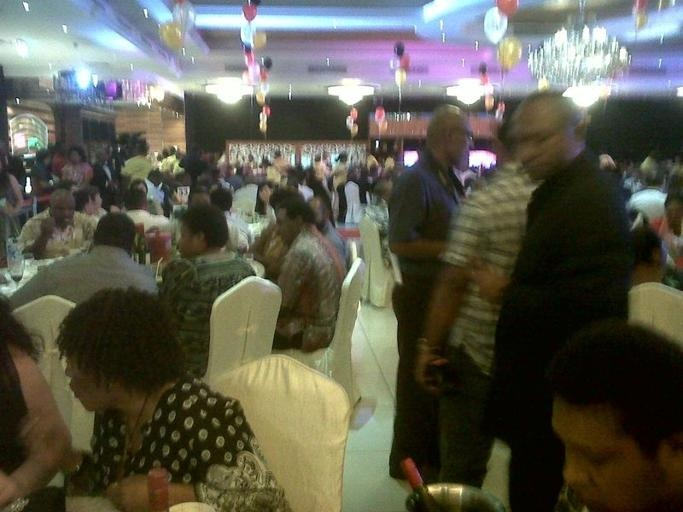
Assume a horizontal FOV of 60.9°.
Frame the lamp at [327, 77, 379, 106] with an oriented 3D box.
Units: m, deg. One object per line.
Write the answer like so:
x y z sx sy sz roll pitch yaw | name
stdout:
0.279 -3.604 12.660 1.164 0.522 1.242 -1 7 0 | lamp

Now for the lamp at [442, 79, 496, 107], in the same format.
2.479 -3.223 11.304 0.945 0.493 1.007 -4 7 -1 | lamp

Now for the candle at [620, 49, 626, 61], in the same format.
4.239 -3.015 8.697 0.059 0.181 0.118 6 6 39 | candle

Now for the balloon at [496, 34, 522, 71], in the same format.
1.932 -2.350 6.670 0.253 0.363 0.292 4 12 12 | balloon

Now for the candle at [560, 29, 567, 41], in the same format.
3.232 -3.190 8.432 0.114 0.171 0.325 6 13 24 | candle

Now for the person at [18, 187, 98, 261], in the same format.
-2.135 -0.098 4.433 0.601 0.787 0.449 -4 15 -31 | person

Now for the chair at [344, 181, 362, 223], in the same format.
0.242 -1.181 12.854 0.383 0.905 0.715 1 11 -2 | chair

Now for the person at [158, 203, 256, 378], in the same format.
-0.690 0.187 2.976 0.469 0.956 0.431 22 32 25 | person

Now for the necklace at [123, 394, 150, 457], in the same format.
-0.541 0.460 1.587 0.103 0.157 0.038 -4 -18 41 | necklace
